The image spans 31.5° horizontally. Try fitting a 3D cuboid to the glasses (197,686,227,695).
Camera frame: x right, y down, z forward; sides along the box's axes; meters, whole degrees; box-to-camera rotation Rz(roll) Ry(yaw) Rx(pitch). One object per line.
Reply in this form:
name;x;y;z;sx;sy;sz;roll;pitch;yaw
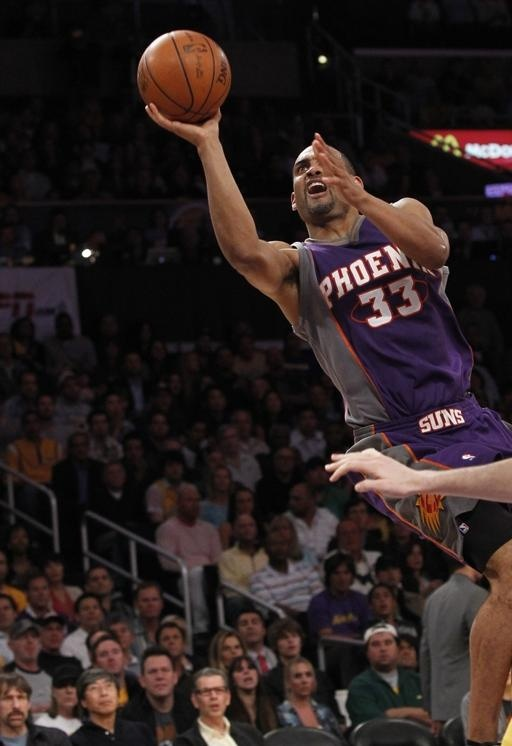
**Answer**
glasses;-0.285;1.987;5.676;0.179;0.049;0.053;-2;8;-5
